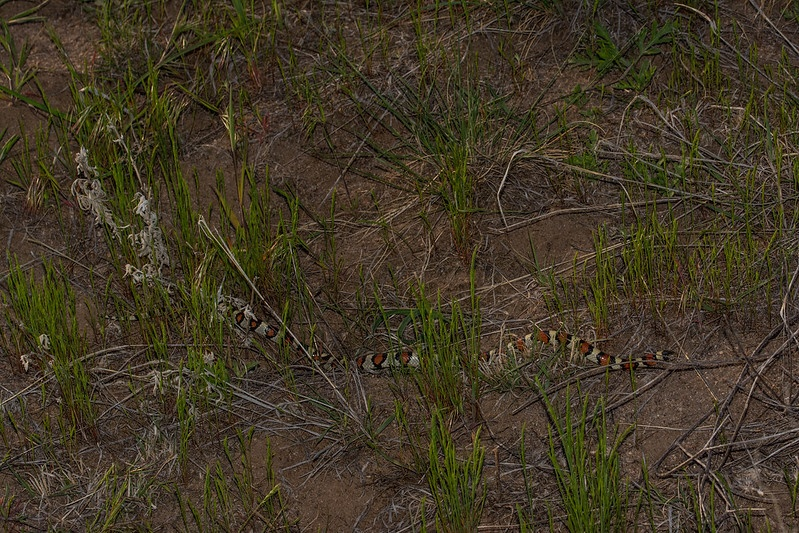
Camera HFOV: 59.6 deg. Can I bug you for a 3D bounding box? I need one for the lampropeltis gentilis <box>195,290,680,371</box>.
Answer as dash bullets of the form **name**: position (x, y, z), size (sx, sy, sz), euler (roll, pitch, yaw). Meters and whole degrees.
- **lampropeltis gentilis**: position (0.327, 0.496, 5.266), size (2.464, 0.261, 0.491), euler (1, 25, 11)
